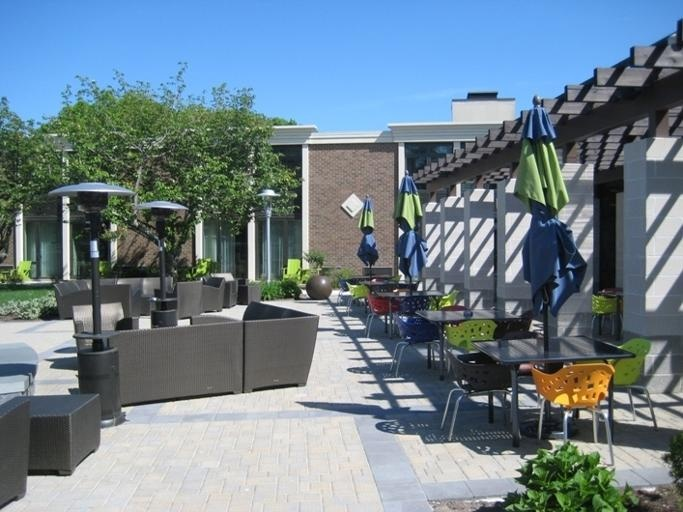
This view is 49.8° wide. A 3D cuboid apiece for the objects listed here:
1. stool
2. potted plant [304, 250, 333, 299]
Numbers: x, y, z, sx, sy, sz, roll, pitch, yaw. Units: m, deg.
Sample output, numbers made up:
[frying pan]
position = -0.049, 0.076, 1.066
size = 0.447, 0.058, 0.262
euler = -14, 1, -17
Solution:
[stool]
position = -3.559, 2.257, 9.498
size = 0.842, 0.681, 0.884
euler = 0, 3, -3
[potted plant]
position = -0.708, 0.612, 23.446
size = 0.893, 1.672, 0.896
euler = -16, 10, -23
